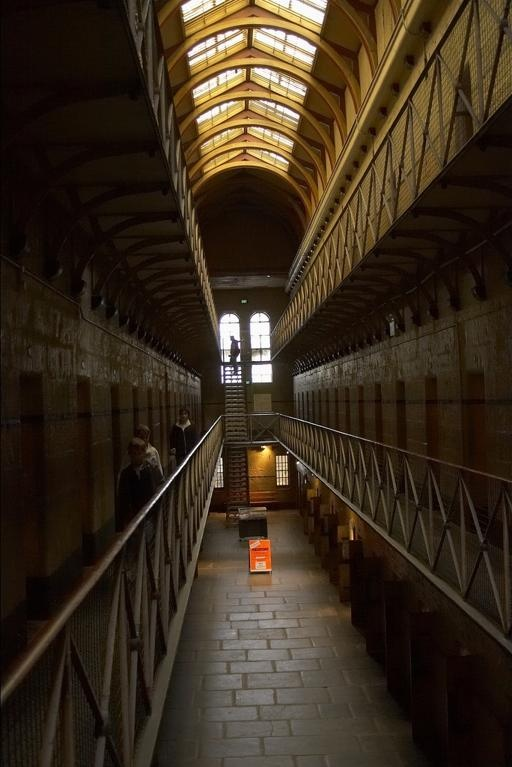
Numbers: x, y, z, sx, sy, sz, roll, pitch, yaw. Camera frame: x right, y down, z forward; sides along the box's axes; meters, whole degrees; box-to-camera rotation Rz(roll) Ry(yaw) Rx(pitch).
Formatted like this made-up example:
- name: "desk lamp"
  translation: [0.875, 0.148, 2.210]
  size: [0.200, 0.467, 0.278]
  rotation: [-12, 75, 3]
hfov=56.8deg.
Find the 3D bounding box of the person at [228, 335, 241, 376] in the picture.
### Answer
- name: "person"
  translation: [-1.221, -1.626, 27.563]
  size: [0.583, 2.043, 1.436]
  rotation: [0, -5, -4]
